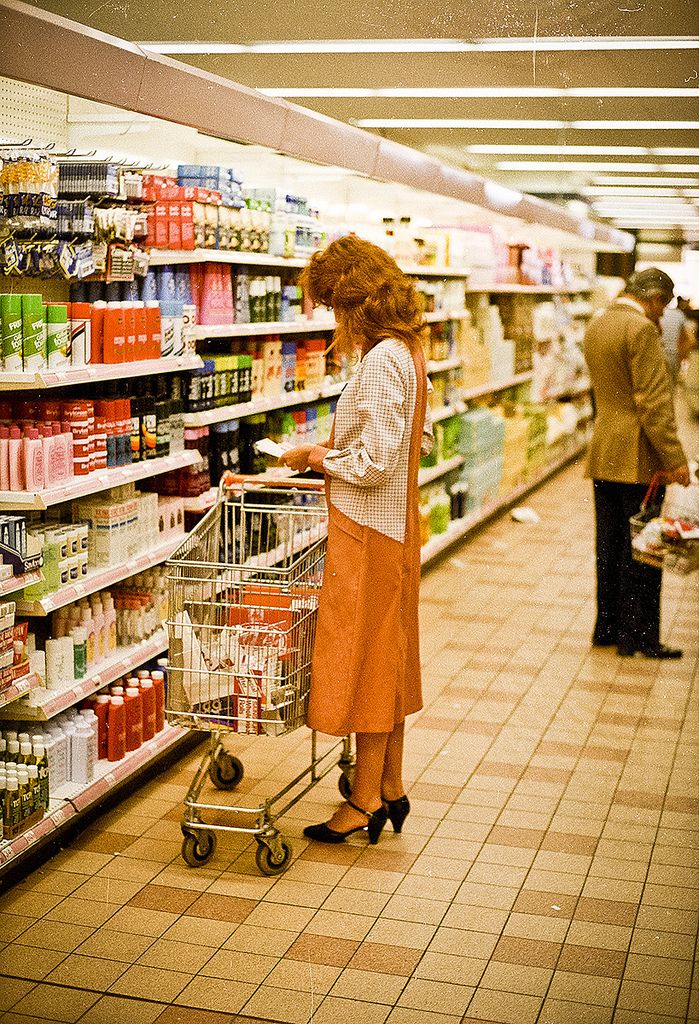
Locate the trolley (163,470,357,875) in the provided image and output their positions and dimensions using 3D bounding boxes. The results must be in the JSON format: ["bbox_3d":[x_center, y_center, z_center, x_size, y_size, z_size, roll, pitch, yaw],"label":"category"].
[{"bbox_3d":[-0.311,0.513,2.625,0.432,1.025,0.776,-1,-2,8],"label":"trolley"}]

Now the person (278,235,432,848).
[{"bbox_3d":[0.028,0.142,2.430,0.375,1.815,0.514,1,2,12],"label":"person"}]

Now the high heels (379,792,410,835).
[{"bbox_3d":[0.143,0.962,2.661,0.053,0.077,0.173,-3,11,-1],"label":"high heels"}]

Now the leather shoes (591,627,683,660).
[{"bbox_3d":[0.968,0.431,2.836,0.282,0.136,0.092,-2,4,22],"label":"leather shoes"}]
